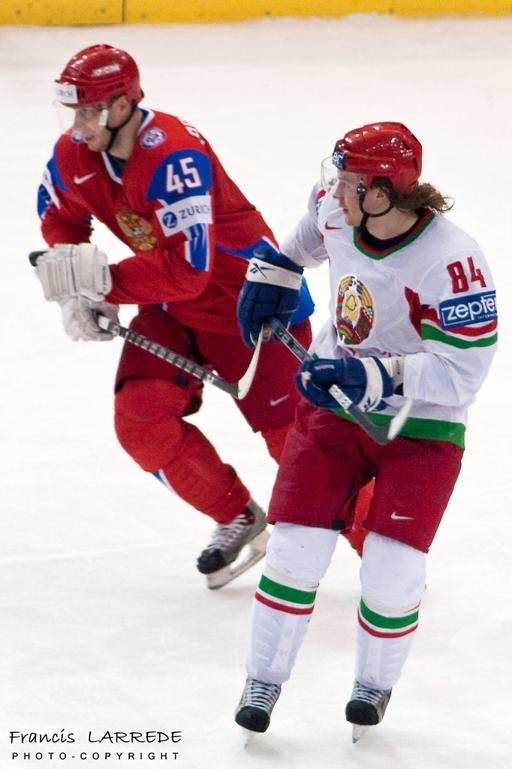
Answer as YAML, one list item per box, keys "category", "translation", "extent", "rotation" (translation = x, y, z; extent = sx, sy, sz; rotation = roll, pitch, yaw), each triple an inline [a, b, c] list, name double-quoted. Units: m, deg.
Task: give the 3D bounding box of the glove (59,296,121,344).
- category: "glove"
  translation: [-0.436, -0.160, 1.984]
  extent: [0.131, 0.042, 0.119]
  rotation: [18, 8, 2]

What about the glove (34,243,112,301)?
- category: "glove"
  translation: [-0.451, -0.260, 1.889]
  extent: [0.220, 0.163, 0.089]
  rotation: [17, 24, 26]

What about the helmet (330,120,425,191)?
- category: "helmet"
  translation: [0.209, -0.396, 1.437]
  extent: [0.187, 0.139, 0.132]
  rotation: [-1, 31, 0]

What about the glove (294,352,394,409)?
- category: "glove"
  translation: [0.166, -0.006, 1.448]
  extent: [0.168, 0.080, 0.065]
  rotation: [6, 14, 24]

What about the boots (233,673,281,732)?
- category: "boots"
  translation: [-0.001, 0.605, 1.495]
  extent: [0.052, 0.053, 0.141]
  rotation: [31, -3, 1]

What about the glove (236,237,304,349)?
- category: "glove"
  translation: [0.027, -0.206, 1.786]
  extent: [0.169, 0.206, 0.085]
  rotation: [33, 6, -12]
